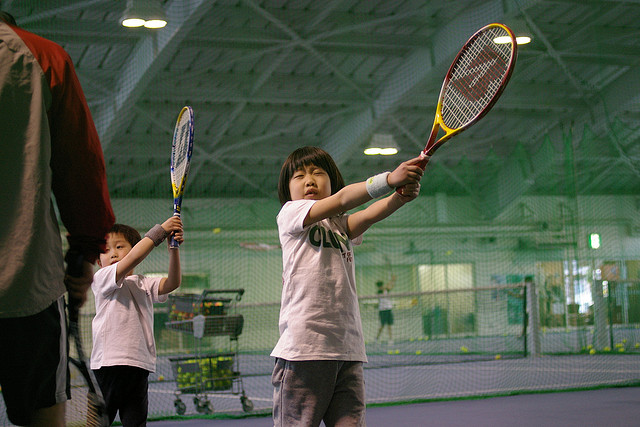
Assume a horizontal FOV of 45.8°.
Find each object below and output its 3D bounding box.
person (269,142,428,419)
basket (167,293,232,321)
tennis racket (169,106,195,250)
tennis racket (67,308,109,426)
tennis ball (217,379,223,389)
[{"bbox_3d":[0.114,0.455,5.474,0.995,1.750,0.696,-2,-1,0],"label":"person"},{"bbox_3d":[-1.434,1.168,9.592,0.465,0.350,0.782,-6,-8,34],"label":"basket"},{"bbox_3d":[-1.195,-0.469,6.570,0.201,0.952,0.635,-2,-1,-11],"label":"tennis racket"},{"bbox_3d":[-1.627,1.086,5.254,0.263,0.646,0.626,-2,-1,-20],"label":"tennis racket"},{"bbox_3d":[-1.232,2.095,9.332,0.062,0.085,0.132,-2,-1,-10],"label":"tennis ball"}]
